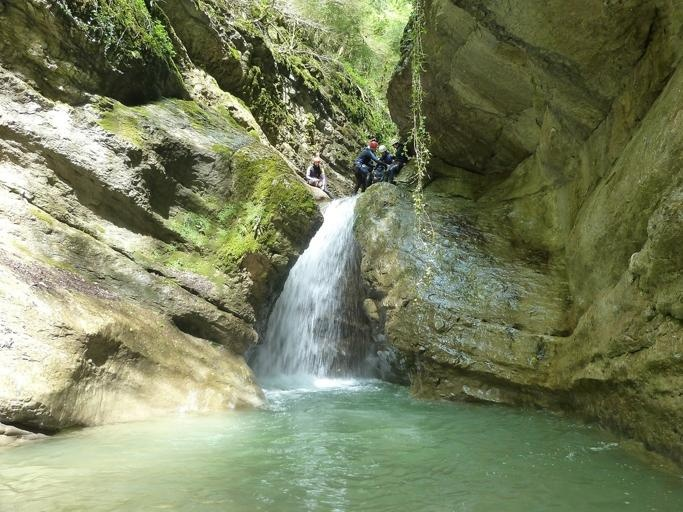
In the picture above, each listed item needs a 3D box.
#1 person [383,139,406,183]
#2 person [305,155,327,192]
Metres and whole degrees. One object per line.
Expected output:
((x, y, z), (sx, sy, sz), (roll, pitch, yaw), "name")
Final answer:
((1.418, -2.439, 14.084), (0.580, 1.115, 1.202), (2, 4, 13), "person")
((-0.725, -2.370, 15.675), (0.588, 0.945, 0.651), (3, 5, -22), "person")
